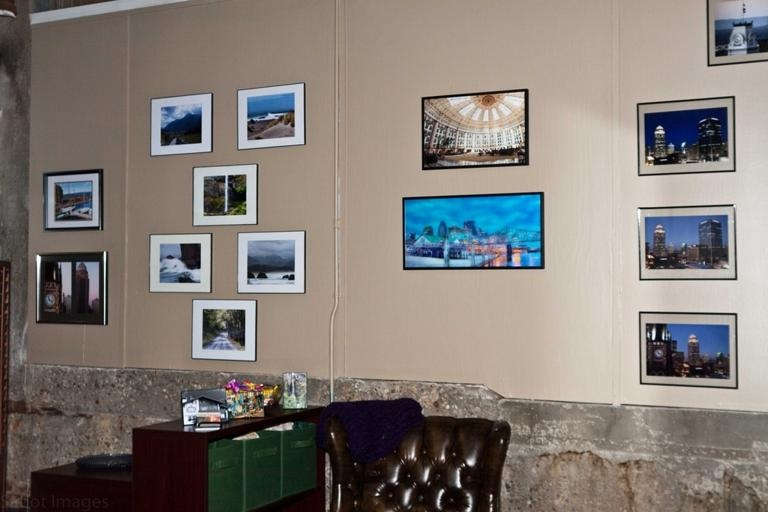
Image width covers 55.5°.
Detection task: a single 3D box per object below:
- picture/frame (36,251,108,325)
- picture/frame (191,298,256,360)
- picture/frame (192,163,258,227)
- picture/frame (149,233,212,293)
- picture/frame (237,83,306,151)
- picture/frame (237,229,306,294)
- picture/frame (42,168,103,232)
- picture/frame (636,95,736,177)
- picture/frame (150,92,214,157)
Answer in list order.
[{"bbox_3d":[-2.629,0.269,6.174,0.531,0.627,0.041,-1,2,17],"label":"picture/frame"},{"bbox_3d":[-1.270,0.585,5.833,0.424,0.414,0.017,-1,-6,9],"label":"picture/frame"},{"bbox_3d":[-1.267,-0.486,5.870,0.446,0.436,0.010,0,2,17],"label":"picture/frame"},{"bbox_3d":[-1.650,0.059,5.949,0.413,0.410,0.015,0,-5,9],"label":"picture/frame"},{"bbox_3d":[-0.881,-1.098,5.781,0.478,0.412,0.010,0,-2,16],"label":"picture/frame"},{"bbox_3d":[-0.871,0.045,5.749,0.434,0.428,0.017,0,-4,9],"label":"picture/frame"},{"bbox_3d":[-2.639,-0.470,6.202,0.460,0.460,0.048,0,2,16],"label":"picture/frame"},{"bbox_3d":[2.124,-0.826,5.061,0.493,0.448,0.011,0,-5,12],"label":"picture/frame"},{"bbox_3d":[-1.650,-1.076,5.984,0.456,0.447,0.018,2,4,17],"label":"picture/frame"}]
